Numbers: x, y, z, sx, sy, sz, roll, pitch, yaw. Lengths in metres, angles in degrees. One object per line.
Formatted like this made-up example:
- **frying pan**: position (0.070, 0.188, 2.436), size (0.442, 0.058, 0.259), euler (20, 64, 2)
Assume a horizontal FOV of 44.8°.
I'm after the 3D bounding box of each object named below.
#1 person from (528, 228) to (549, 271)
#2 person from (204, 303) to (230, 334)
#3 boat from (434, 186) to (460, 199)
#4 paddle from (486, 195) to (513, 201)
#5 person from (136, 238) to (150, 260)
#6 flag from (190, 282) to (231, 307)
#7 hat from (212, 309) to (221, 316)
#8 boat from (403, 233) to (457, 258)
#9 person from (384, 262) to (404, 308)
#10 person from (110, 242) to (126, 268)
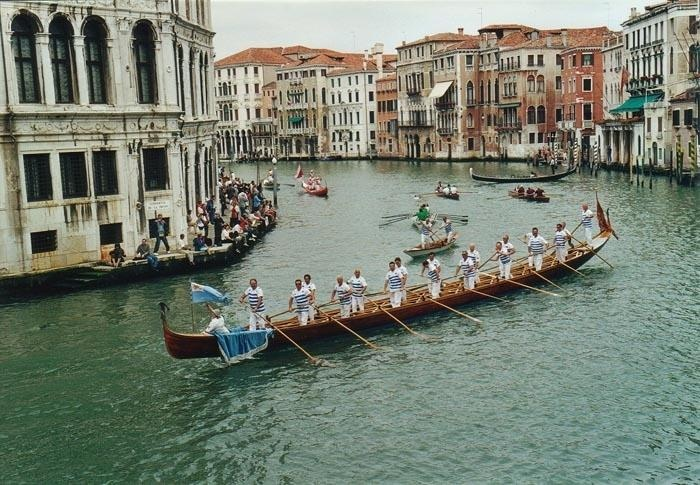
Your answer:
- **person**: position (9.690, 0.371, 43.632), size (1.059, 2.415, 0.748), euler (5, 29, 23)
- **person**: position (-5.474, 3.163, 34.874), size (0.954, 1.103, 0.797), euler (-5, 11, -10)
- **boat**: position (8.838, -4.566, 76.293), size (1.445, 1.043, 6.200), euler (-1, 1, -2)
- **paddle**: position (13.358, -3.948, 74.678), size (0.729, 0.463, 3.472), euler (5, 7, 40)
- **person**: position (-11.221, 0.316, 46.333), size (0.999, 1.336, 0.962), euler (0, -5, -12)
- **flag**: position (-5.870, 2.041, 35.406), size (1.389, 1.013, 0.993), euler (-5, 11, -11)
- **hat**: position (-5.426, 2.841, 34.650), size (0.243, 0.398, 0.467), euler (-6, 11, -14)
- **boat**: position (5.144, 0.384, 51.865), size (1.127, 0.809, 4.872), euler (-1, 10, 40)
- **person**: position (2.116, 1.871, 39.163), size (0.866, 2.063, 1.330), euler (-3, 11, 1)
- **person**: position (-12.421, 0.615, 45.444), size (0.756, 1.107, 0.975), euler (-7, 11, -16)
